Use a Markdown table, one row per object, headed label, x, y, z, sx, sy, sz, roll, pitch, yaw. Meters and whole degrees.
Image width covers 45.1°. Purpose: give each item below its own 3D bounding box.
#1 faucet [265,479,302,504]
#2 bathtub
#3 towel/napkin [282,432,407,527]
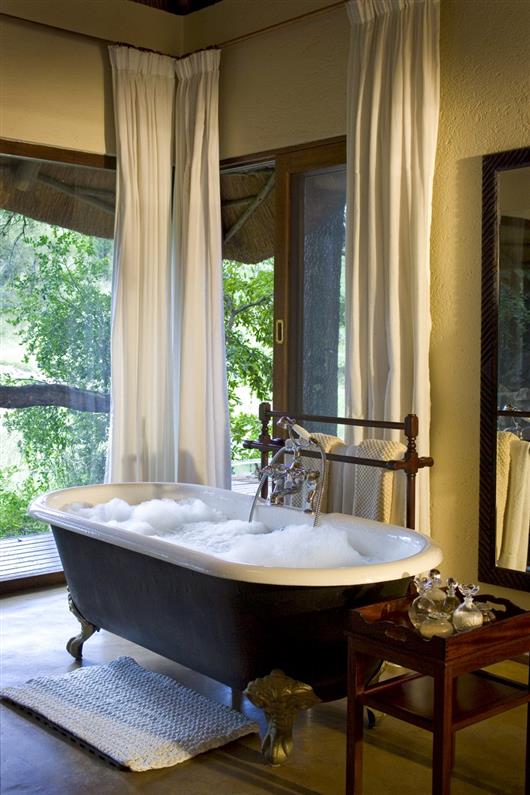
| label | x | y | z | sx | sy | sz | roll | pitch | yaw |
| --- | --- | --- | --- | --- | --- | --- | --- | --- | --- |
| faucet | 0.084 | 0.345 | 2.341 | 0.063 | 0.090 | 0.175 | 1 | 3 | 23 |
| bathtub | -0.212 | 0.643 | 2.140 | 0.725 | 0.608 | 1.722 | 4 | -5 | -41 |
| towel/napkin | 0.361 | 0.310 | 2.485 | 0.281 | 0.421 | 0.407 | 1 | -1 | -41 |
